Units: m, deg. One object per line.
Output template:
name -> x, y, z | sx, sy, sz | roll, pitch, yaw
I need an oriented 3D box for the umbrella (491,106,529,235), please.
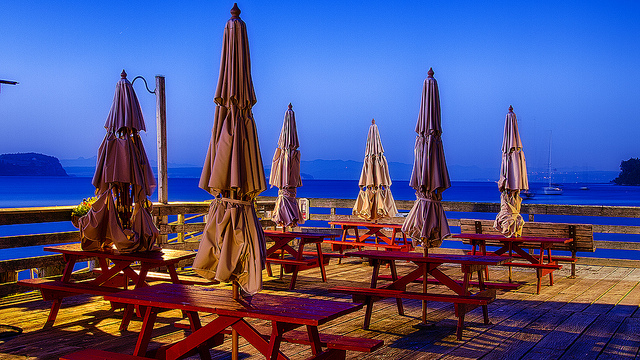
umbrella -> 4.573, -0.214, 11.990 | 0.669, 2.976, 0.840 | 3, 9, 20

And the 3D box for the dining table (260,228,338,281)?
dining table -> -0.432, 1.640, 12.314 | 2.038, 0.858, 1.709 | -3, -5, 30

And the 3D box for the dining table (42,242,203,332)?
dining table -> -3.538, 1.576, 9.953 | 3.133, 1.349, 1.917 | 1, 1, 26

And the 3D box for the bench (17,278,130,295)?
bench -> -4.607, 1.988, 9.368 | 2.050, 0.180, 0.467 | 2, 7, 14

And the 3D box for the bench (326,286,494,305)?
bench -> 1.639, 2.092, 9.183 | 2.802, 0.280, 0.462 | 1, 7, 6

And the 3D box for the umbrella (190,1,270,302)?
umbrella -> -1.340, -0.498, 7.709 | 1.069, 4.370, 0.885 | 1, 9, 10
